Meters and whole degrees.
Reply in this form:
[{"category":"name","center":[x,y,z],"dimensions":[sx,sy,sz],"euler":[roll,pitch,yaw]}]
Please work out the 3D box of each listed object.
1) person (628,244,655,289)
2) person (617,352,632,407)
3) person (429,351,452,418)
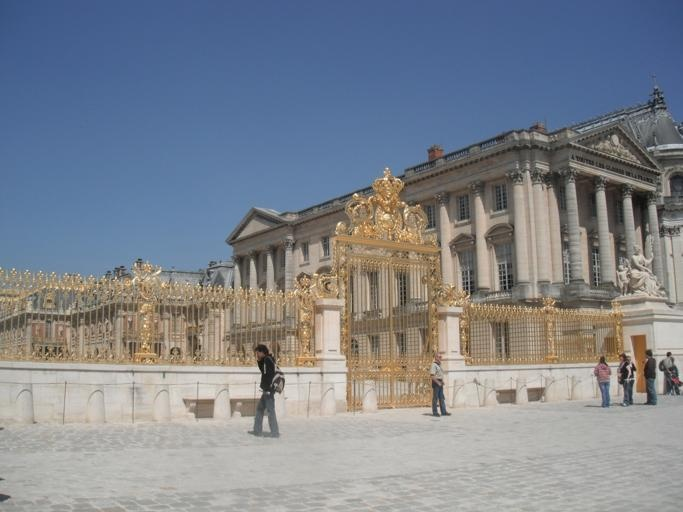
[{"category":"person","center":[10.501,0.668,28.105],"dimensions":[0.827,1.372,0.857],"euler":[-7,-12,19]},{"category":"person","center":[8.546,3.640,23.943],"dimensions":[0.504,1.610,1.949],"euler":[-7,-12,19]},{"category":"person","center":[2.545,3.359,21.047],"dimensions":[0.447,1.652,1.568],"euler":[-5,-11,6]}]
